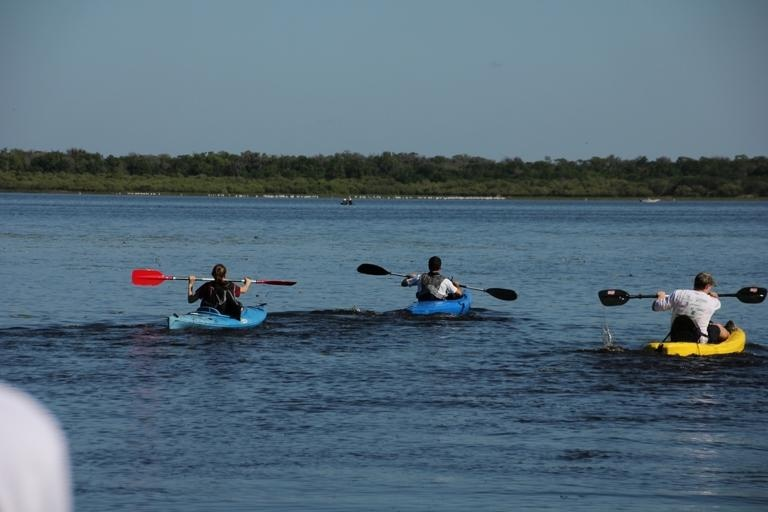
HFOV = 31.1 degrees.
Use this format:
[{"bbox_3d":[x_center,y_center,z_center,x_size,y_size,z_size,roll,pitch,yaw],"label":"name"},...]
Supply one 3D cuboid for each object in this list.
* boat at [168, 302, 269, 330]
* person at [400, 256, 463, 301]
[{"bbox_3d":[-4.142,1.563,34.558,1.327,0.528,2.489,4,3,33],"label":"boat"},{"bbox_3d":[1.843,0.525,36.703,1.323,1.251,2.575,0,-5,4],"label":"person"}]
